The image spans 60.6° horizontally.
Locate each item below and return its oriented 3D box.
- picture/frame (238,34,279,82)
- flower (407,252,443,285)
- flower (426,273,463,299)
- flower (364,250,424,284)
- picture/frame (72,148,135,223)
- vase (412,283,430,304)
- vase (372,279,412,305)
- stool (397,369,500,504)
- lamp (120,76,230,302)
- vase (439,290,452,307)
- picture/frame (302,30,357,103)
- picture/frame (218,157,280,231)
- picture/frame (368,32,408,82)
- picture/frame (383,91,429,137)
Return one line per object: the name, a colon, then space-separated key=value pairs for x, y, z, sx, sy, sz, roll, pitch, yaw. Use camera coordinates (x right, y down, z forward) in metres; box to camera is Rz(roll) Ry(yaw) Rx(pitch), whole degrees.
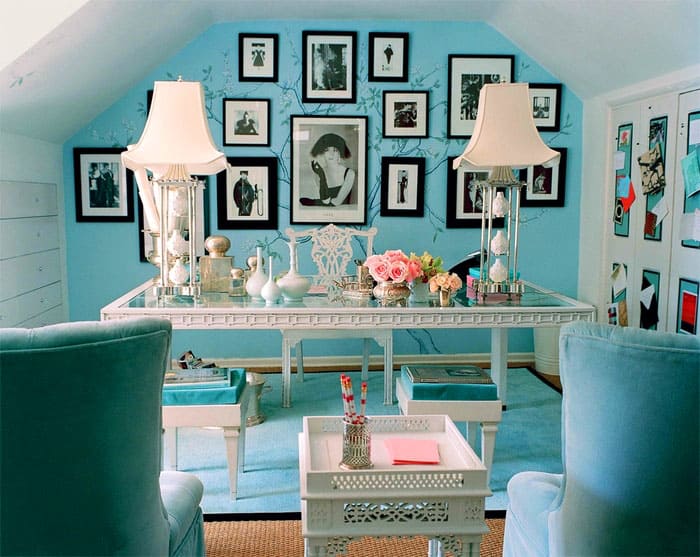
picture/frame: x=-0.698 y=-1.665 z=4.496 sx=0.306 sy=0.386 sz=0.038 roll=0 pitch=1 yaw=-4
flower: x=0.387 y=-0.048 z=3.236 sx=0.165 sy=0.107 sz=0.168 roll=-8 pitch=43 yaw=-6
flower: x=0.495 y=0.055 z=3.179 sx=0.122 sy=0.132 sz=0.081 roll=6 pitch=-13 yaw=8
flower: x=0.240 y=-0.076 z=3.181 sx=0.197 sy=0.103 sz=0.210 roll=-2 pitch=42 yaw=13
picture/frame: x=-1.853 y=-0.705 z=4.443 sx=0.500 sy=0.721 sz=0.045 roll=-1 pitch=4 yaw=-9
vase: x=0.397 y=0.089 z=3.274 sx=0.101 sy=0.096 sz=0.082 roll=4 pitch=5 yaw=30
vase: x=0.218 y=0.060 z=3.152 sx=0.133 sy=0.103 sz=0.138 roll=-1 pitch=6 yaw=-11
stool: x=0.425 y=0.664 z=2.996 sx=0.456 sy=0.636 sz=0.626 roll=-1 pitch=7 yaw=-3
lamp: x=-0.912 y=-0.490 z=3.213 sx=0.508 sy=1.162 sz=0.664 roll=-2 pitch=10 yaw=-12
vase: x=0.502 y=0.104 z=3.125 sx=0.066 sy=0.081 sz=0.068 roll=2 pitch=6 yaw=22
picture/frame: x=-0.167 y=-1.619 z=4.511 sx=0.480 sy=0.618 sz=0.038 roll=0 pitch=3 yaw=-5
picture/frame: x=-0.774 y=-0.662 z=4.532 sx=0.494 sy=0.654 sz=0.041 roll=0 pitch=4 yaw=-4
picture/frame: x=0.278 y=-1.687 z=4.521 sx=0.325 sy=0.379 sz=0.017 roll=0 pitch=4 yaw=-3
picture/frame: x=0.419 y=-1.269 z=4.567 sx=0.305 sy=0.316 sz=0.021 roll=0 pitch=2 yaw=-4
